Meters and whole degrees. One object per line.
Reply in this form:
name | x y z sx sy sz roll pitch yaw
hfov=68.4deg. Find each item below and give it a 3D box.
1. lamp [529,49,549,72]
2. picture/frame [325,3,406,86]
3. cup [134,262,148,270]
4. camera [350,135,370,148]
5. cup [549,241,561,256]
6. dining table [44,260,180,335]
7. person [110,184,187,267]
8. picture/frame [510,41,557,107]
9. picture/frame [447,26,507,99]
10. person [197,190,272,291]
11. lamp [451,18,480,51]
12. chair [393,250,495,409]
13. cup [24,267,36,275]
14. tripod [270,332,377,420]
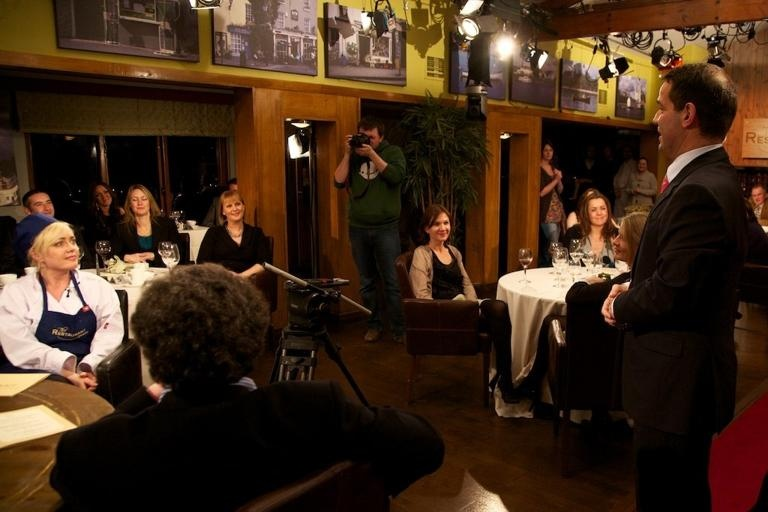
lamp | 2.068 -2.668 7.631 0.104 0.251 0.416 10 17 40
picture/frame | -0.242 -2.309 6.163 0.044 0.706 1.083 5 7 43
cup | -1.920 0.083 4.479 0.081 0.039 0.084 0 8 0
camera | -0.229 -1.103 5.430 0.194 0.125 0.107 -3 13 -7
cup | 1.378 -0.061 4.493 0.095 0.105 0.094 -1 9 0
dining table | -1.902 0.226 4.053 0.869 0.674 0.876 1 1 0
person | -2.342 -0.160 5.508 0.654 1.069 0.597 -10 5 -33
picture/frame | 2.124 -2.611 8.160 0.111 0.795 1.101 4 9 40
picture/frame | 1.054 -2.289 6.639 0.040 0.870 1.197 1 1 36
person | -1.401 -0.135 5.333 0.643 0.983 0.554 -1 6 -26
lamp | 0.875 -2.524 6.191 0.290 0.390 0.123 26 -25 -26
chair | 0.444 0.581 4.730 0.943 1.346 0.970 0 2 7
cup | -2.462 0.104 3.934 0.076 0.058 0.079 1 7 0
tripod | -0.333 0.462 2.985 0.589 0.496 0.416 -1 10 -18
